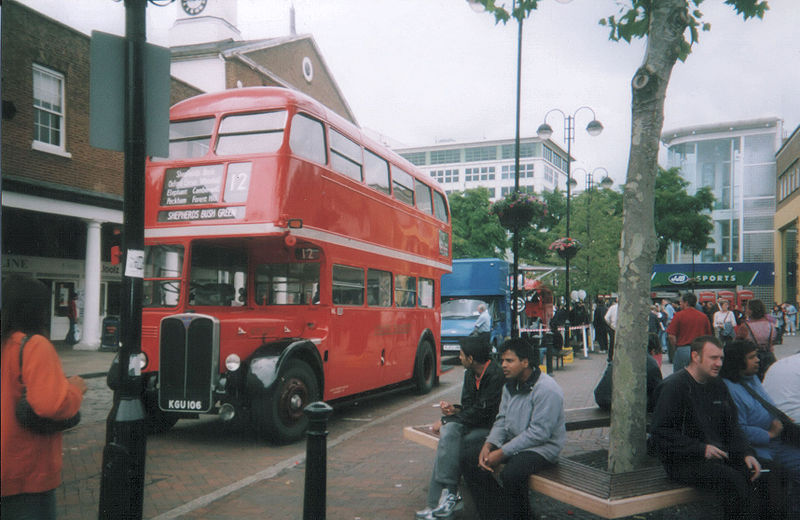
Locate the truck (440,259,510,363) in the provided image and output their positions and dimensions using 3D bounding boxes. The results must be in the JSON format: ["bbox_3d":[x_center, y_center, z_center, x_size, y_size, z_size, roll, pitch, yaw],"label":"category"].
[{"bbox_3d":[2.286,1.532,25.742,2.481,3.033,4.313,0,2,22],"label":"truck"}]

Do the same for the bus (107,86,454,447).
[{"bbox_3d":[-2.188,0.333,13.801,2.729,4.516,7.270,-2,-5,25],"label":"bus"}]

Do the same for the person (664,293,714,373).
[{"bbox_3d":[5.944,1.776,16.216,0.856,2.179,0.676,2,8,13],"label":"person"}]

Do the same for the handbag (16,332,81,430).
[{"bbox_3d":[-3.884,1.357,8.481,0.736,1.077,0.447,2,17,4],"label":"handbag"}]
